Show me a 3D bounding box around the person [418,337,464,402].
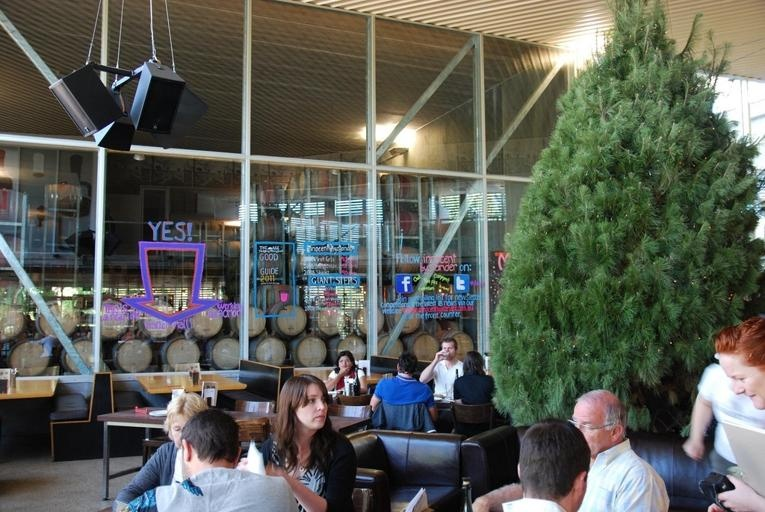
[{"bbox_3d":[0.780,1.739,8.084,0.575,1.367,0.457,2,5,1],"label":"person"}]

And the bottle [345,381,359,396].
[{"bbox_3d":[-0.365,1.588,7.571,0.138,0.164,0.144,0,3,-3],"label":"bottle"}]

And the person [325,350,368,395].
[{"bbox_3d":[-0.486,1.638,8.036,0.456,0.828,0.427,3,-4,-9],"label":"person"}]

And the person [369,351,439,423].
[{"bbox_3d":[0.259,1.546,7.351,0.692,1.170,0.555,4,13,10],"label":"person"}]

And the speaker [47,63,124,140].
[{"bbox_3d":[-2.946,-1.560,6.287,0.639,0.677,0.309,1,-1,-33],"label":"speaker"}]

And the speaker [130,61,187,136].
[{"bbox_3d":[-2.317,-1.634,6.486,0.433,0.654,0.528,1,-1,-34],"label":"speaker"}]
